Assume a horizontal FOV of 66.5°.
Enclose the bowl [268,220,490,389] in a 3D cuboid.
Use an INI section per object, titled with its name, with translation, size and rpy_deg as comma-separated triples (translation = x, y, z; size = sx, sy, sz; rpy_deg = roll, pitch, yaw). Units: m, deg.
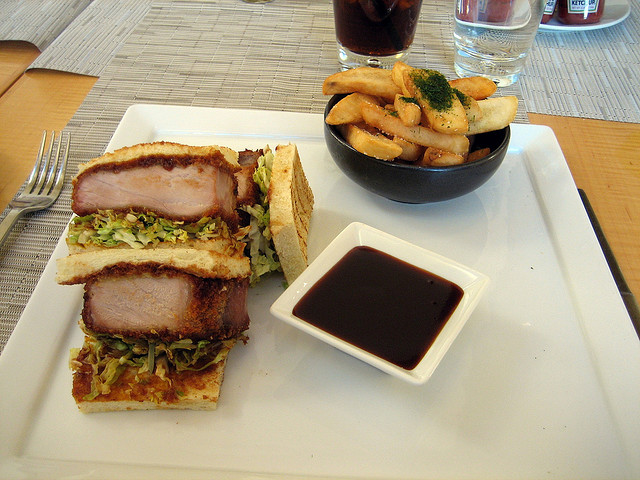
[bowl]
translation = 0.280, 0.296, 2.341
size = 0.786, 0.181, 0.793
rpy_deg = 2, 41, -2
